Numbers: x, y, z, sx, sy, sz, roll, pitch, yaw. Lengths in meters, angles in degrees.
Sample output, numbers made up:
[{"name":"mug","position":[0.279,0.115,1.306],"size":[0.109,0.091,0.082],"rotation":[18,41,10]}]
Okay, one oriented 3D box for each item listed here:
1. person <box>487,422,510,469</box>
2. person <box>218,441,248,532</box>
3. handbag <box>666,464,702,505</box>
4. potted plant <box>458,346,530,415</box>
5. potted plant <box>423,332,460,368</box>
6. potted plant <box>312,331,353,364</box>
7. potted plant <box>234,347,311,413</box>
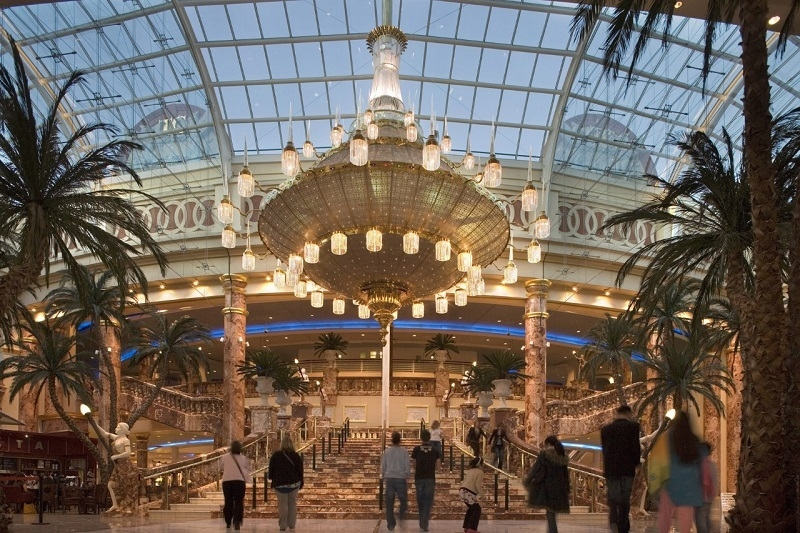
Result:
[{"name":"person","position":[3.057,5.577,26.153],"size":[0.599,1.355,1.135],"rotation":[0,-23,6]},{"name":"person","position":[-3.501,4.613,17.618],"size":[0.536,1.746,1.017],"rotation":[3,-23,-3]},{"name":"handbag","position":[4.876,3.718,14.422],"size":[0.670,0.873,0.485],"rotation":[-1,-2,18]},{"name":"potted plant","position":[3.477,4.052,31.078],"size":[1.358,2.350,2.019],"rotation":[21,-29,-37]},{"name":"potted plant","position":[2.119,4.226,42.307],"size":[1.671,1.617,1.711],"rotation":[-25,-40,33]},{"name":"potted plant","position":[-3.449,4.066,41.662],"size":[1.708,1.653,1.729],"rotation":[3,-38,-5]},{"name":"potted plant","position":[-4.906,4.302,31.963],"size":[1.363,2.224,3.442],"rotation":[-4,-24,15]}]
